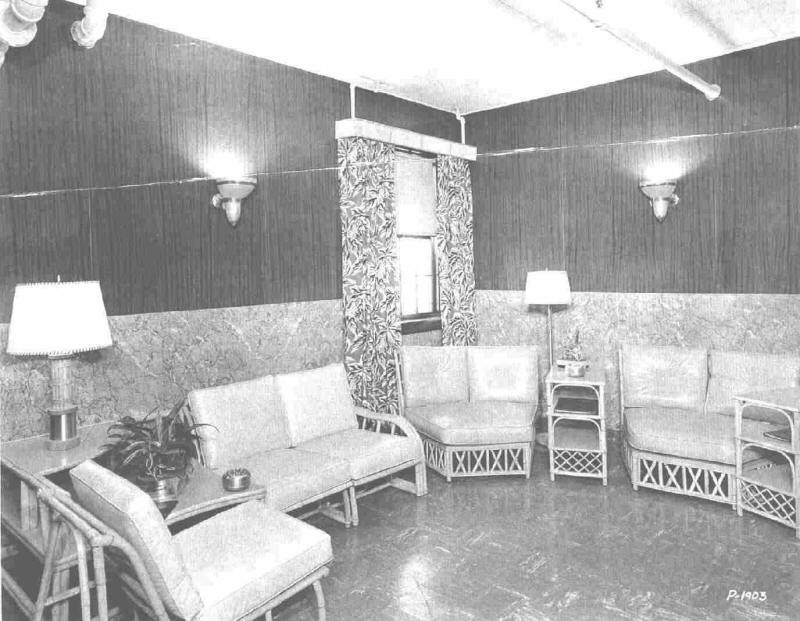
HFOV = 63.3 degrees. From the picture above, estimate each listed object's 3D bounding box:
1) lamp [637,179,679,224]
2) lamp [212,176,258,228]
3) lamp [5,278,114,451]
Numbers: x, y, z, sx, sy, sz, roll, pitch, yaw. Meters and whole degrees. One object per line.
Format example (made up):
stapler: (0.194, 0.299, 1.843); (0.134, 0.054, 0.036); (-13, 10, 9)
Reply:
lamp: (2.220, -0.929, 5.583); (0.286, 0.363, 0.303); (-2, 5, -20)
lamp: (-1.212, -0.780, 4.693); (0.295, 0.385, 0.286); (0, 3, 12)
lamp: (-1.946, 0.294, 3.661); (0.537, 0.930, 0.428); (6, 14, 32)
